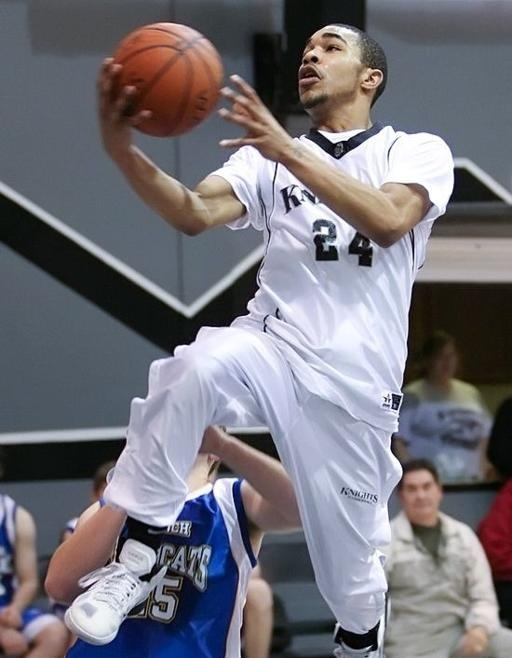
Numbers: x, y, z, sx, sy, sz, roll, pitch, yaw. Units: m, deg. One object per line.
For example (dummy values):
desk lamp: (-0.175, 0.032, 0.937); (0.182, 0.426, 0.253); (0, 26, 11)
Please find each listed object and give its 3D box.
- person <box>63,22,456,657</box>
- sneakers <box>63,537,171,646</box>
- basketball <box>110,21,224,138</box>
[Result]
person: (0.023, 0.120, 3.116); (0.682, 1.910, 1.262); (11, 21, 38)
sneakers: (-0.361, 0.668, 2.913); (0.161, 0.194, 0.430); (30, 11, 12)
basketball: (-0.242, -0.669, 3.063); (0.358, 0.341, 0.343); (7, 7, 19)
